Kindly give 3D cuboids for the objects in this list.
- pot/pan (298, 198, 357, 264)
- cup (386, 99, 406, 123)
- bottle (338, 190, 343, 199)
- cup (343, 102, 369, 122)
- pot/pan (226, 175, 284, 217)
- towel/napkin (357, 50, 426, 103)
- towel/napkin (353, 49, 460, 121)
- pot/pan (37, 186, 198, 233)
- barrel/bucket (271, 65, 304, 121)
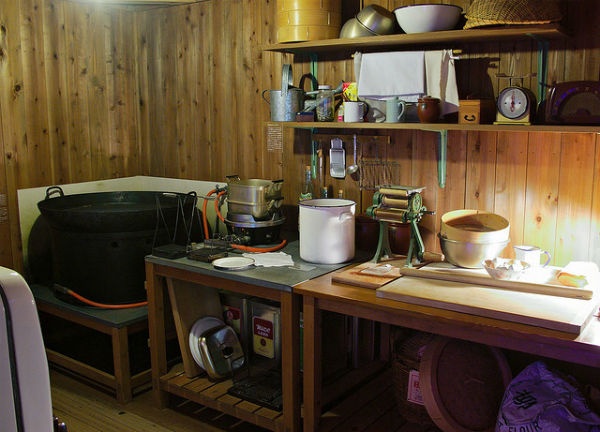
[{"bbox_3d":[0.136,0.080,2.740,0.329,0.332,0.360,-3,5,-26],"label":"pot/pan"},{"bbox_3d":[0.565,-0.618,2.706,0.091,0.151,0.147,-6,12,-33],"label":"cup"},{"bbox_3d":[0.274,-0.137,3.071,0.040,0.077,0.043,0,11,0],"label":"bottle"},{"bbox_3d":[0.348,-0.646,2.901,0.155,0.119,0.100,12,17,40],"label":"cup"},{"bbox_3d":[-0.290,-0.112,3.051,0.344,0.209,0.258,2,1,36],"label":"pot/pan"},{"bbox_3d":[0.547,-0.805,2.672,0.319,0.228,0.079,8,17,29],"label":"towel/napkin"},{"bbox_3d":[0.599,-0.785,2.706,0.557,0.379,0.126,7,27,24],"label":"towel/napkin"},{"bbox_3d":[-1.340,-0.050,3.439,1.122,0.303,0.889,-5,13,-10],"label":"pot/pan"},{"bbox_3d":[-0.086,-0.784,3.038,0.323,0.371,0.257,0,15,4],"label":"barrel/bucket"}]
